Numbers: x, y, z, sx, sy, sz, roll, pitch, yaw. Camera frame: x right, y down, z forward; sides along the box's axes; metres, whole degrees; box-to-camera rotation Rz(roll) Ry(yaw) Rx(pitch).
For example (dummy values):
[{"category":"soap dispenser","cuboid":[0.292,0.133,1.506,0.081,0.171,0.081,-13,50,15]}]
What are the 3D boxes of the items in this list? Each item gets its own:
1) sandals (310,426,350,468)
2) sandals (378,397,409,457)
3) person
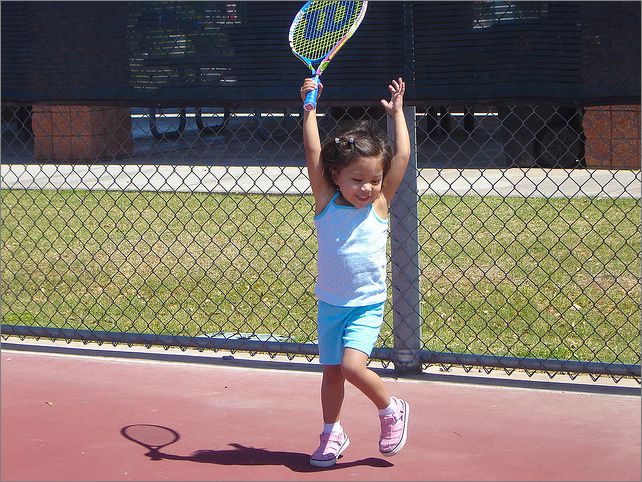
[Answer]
[{"category":"sandals","cuboid":[0.040,1.006,3.707,0.126,0.118,0.298,1,10,21]},{"category":"sandals","cuboid":[0.358,0.910,3.612,0.118,0.307,0.139,2,-17,40]},{"category":"person","cuboid":[0.171,0.196,3.638,0.546,1.792,0.466,1,9,-2]}]
